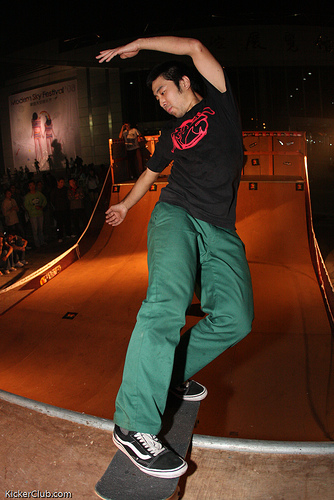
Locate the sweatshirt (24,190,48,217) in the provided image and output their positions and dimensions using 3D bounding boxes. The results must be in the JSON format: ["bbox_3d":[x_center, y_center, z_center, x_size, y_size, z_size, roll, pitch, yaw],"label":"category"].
[{"bbox_3d":[-3.269,-1.140,9.224,0.517,0.658,0.328,-8,9,-20],"label":"sweatshirt"}]

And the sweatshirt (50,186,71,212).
[{"bbox_3d":[-2.814,-1.331,9.847,0.498,0.693,0.259,-8,9,-18],"label":"sweatshirt"}]

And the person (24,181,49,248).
[{"bbox_3d":[-3.272,-0.879,9.329,0.501,1.649,0.478,-7,9,-12],"label":"person"}]

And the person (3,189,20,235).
[{"bbox_3d":[-3.662,-0.857,8.715,0.296,1.060,0.393,-9,10,-22],"label":"person"}]

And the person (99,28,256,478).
[{"bbox_3d":[0.074,-0.022,1.715,0.642,1.803,0.590,-1,-9,0],"label":"person"}]
